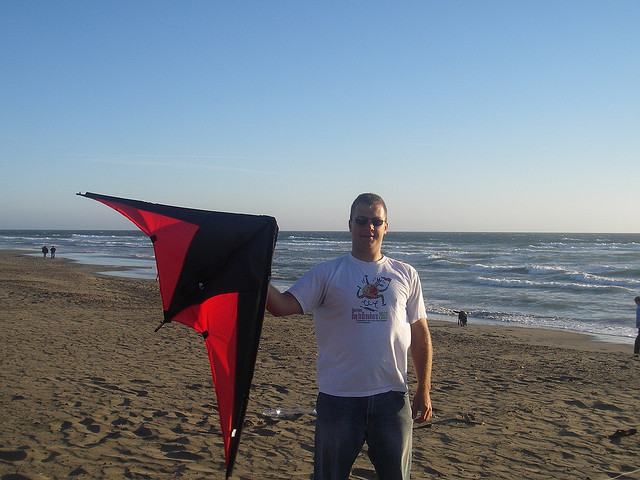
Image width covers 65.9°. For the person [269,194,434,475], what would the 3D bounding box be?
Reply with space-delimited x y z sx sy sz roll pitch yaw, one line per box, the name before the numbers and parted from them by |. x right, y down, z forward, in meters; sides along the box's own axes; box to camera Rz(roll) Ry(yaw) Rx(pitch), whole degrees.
person | 0.318 0.771 4.078 1.325 2.309 0.528 -1 3 -5

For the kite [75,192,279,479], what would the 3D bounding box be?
kite | -0.959 0.752 4.178 1.192 2.108 0.512 1 3 25

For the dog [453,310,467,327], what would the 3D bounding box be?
dog | 5.429 3.033 18.856 0.328 0.553 0.637 0 3 17

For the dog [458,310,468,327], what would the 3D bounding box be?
dog | 5.422 3.035 18.803 0.326 0.553 0.636 0 3 15
